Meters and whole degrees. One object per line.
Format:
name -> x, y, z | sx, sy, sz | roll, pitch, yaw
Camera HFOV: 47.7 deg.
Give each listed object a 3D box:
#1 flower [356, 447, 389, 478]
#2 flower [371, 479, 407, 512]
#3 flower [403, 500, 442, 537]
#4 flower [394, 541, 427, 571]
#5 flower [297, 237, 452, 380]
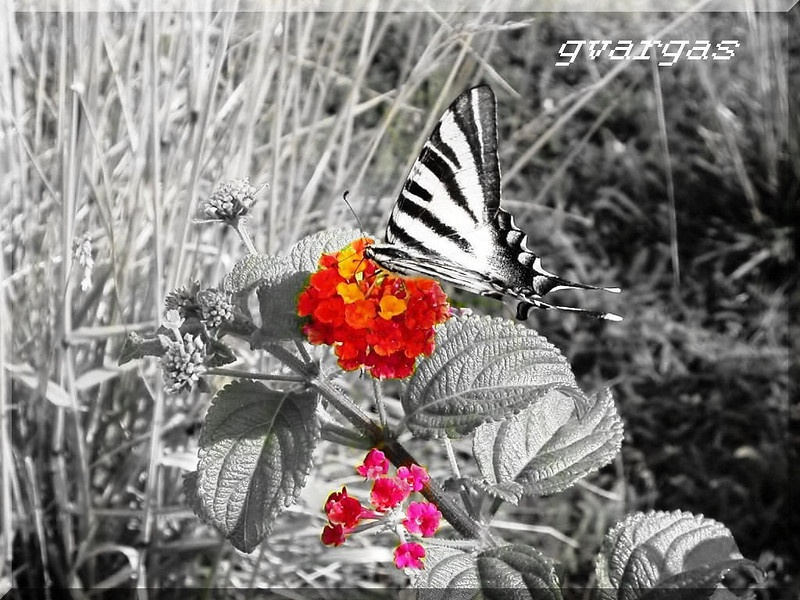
flower -> -0.065, 0.393, 2.152 | 0.066, 0.031, 0.063 | -21, 48, -3
flower -> -0.024, 0.457, 2.113 | 0.087, 0.083, 0.024 | 6, 5, 1
flower -> 0.052, 0.518, 2.137 | 0.082, 0.084, 0.030 | -25, -5, -27
flower -> 0.027, 0.600, 2.118 | 0.077, 0.058, 0.050 | 5, 5, -9
flower -> -0.075, 0.026, 2.114 | 0.318, 0.327, 0.120 | -13, -18, -9
